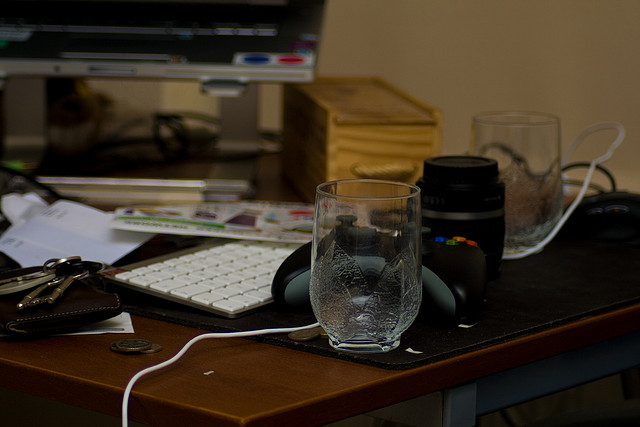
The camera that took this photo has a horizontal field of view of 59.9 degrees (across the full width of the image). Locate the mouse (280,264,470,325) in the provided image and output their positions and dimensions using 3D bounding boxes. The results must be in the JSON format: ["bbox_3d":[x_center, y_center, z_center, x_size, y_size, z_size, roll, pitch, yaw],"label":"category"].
[{"bbox_3d":[0.041,0.070,0.644,0.218,0.059,0.117,0,1,-6],"label":"mouse"}]

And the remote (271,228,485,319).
[{"bbox_3d":[0.084,0.056,0.690,0.264,0.077,0.155,0,17,24],"label":"remote"}]
